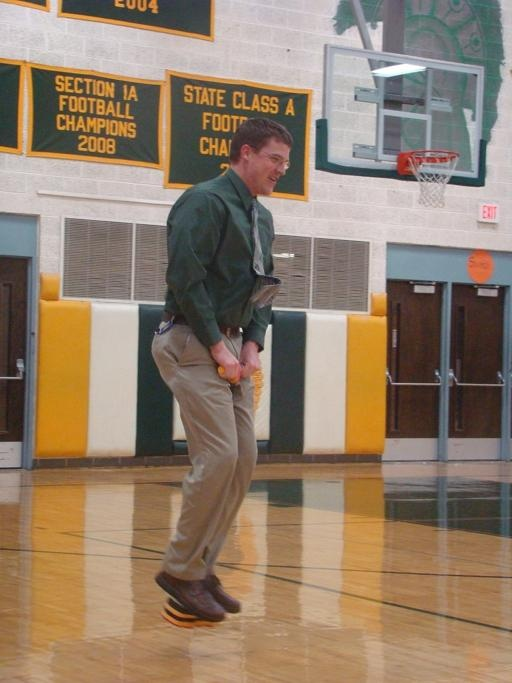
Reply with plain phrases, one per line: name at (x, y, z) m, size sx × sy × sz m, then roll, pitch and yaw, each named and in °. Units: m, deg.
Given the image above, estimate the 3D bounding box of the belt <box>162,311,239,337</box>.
belt at (-0.171, -0.044, 2.665) m, size 0.131 × 0.045 × 0.094 m, roll 7°, pitch 29°, yaw 5°

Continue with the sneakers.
sneakers at (-0.163, 0.722, 2.575) m, size 0.192 × 0.071 × 0.148 m, roll 30°, pitch 10°, yaw 3°

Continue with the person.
person at (-0.132, 0.055, 2.676) m, size 0.338 × 1.439 × 0.460 m, roll 4°, pitch 6°, yaw 16°
